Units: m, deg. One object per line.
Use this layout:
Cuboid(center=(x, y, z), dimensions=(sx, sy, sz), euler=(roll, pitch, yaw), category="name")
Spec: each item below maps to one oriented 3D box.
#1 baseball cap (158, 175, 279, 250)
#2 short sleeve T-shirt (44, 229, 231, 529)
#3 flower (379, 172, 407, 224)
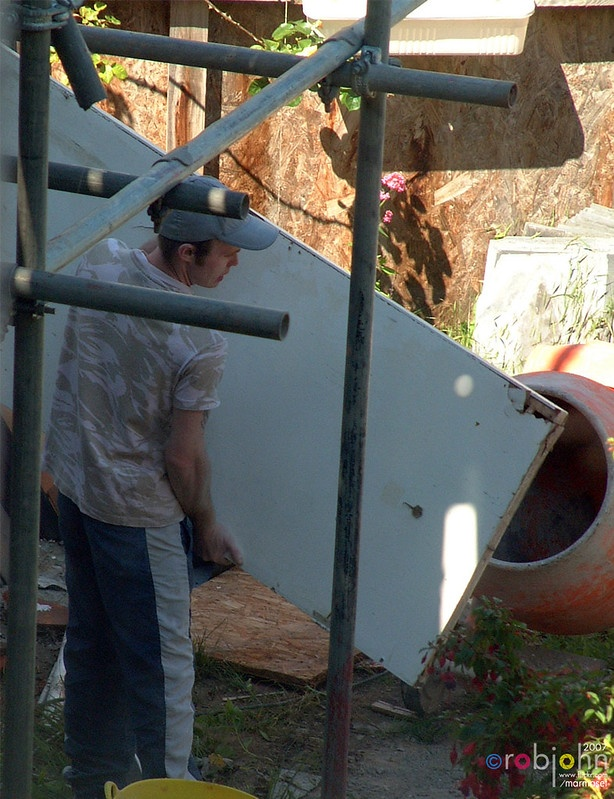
Cuboid(center=(-0.206, -0.420, 2.840), dimensions=(0.334, 0.131, 0.193), euler=(-2, 1, -3), category="baseball cap")
Cuboid(center=(-0.434, 0.043, 2.876), dimensions=(0.474, 0.556, 0.290), euler=(5, -2, 10), category="short sleeve T-shirt")
Cuboid(center=(0.438, -1.042, 6.291), dimensions=(0.129, 0.222, 0.326), euler=(6, -2, 3), category="flower")
